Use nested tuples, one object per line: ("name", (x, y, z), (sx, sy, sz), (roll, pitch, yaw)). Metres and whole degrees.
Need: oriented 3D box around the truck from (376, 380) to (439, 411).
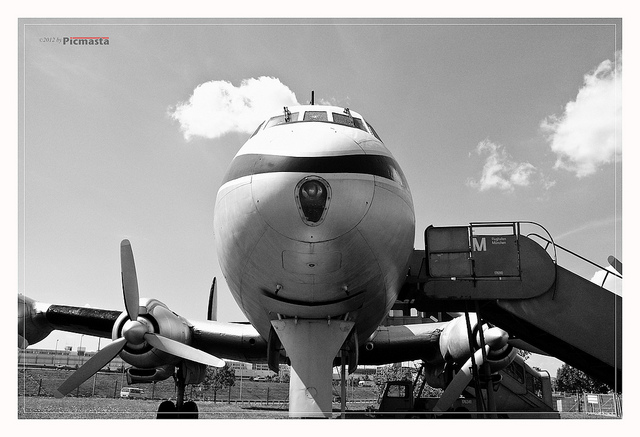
("truck", (2.841, 5.917, 20.159), (1.737, 0.796, 1.163), (2, -21, -2))
